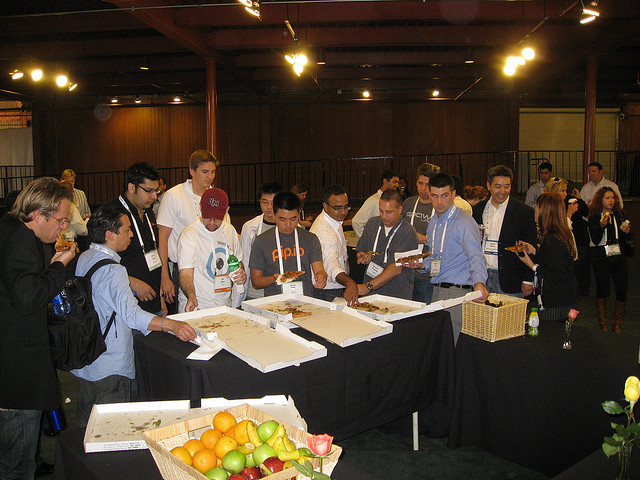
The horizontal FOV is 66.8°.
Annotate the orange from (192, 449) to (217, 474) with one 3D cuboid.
[{"bbox_3d":[-0.410,0.781,1.759,0.066,0.073,0.071,-39,-6,34],"label":"orange"}]

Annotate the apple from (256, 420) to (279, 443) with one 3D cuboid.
[{"bbox_3d":[-0.196,0.687,1.764,0.069,0.069,0.068,-47,-1,-14],"label":"apple"}]

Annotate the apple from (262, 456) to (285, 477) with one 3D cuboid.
[{"bbox_3d":[-0.159,0.762,1.651,0.055,0.062,0.069,12,23,35],"label":"apple"}]

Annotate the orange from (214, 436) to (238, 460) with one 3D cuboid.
[{"bbox_3d":[-0.343,0.748,1.771,0.068,0.073,0.070,23,3,-11],"label":"orange"}]

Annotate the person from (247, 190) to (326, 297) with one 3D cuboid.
[{"bbox_3d":[-0.254,0.204,3.664,0.547,1.094,0.501,1,13,-1],"label":"person"}]

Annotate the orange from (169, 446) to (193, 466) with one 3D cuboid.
[{"bbox_3d":[-0.506,0.778,1.776,0.058,0.064,0.070,-19,23,-24],"label":"orange"}]

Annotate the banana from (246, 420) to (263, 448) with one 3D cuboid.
[{"bbox_3d":[-0.235,0.703,1.765,0.029,0.040,0.117,-7,43,-13],"label":"banana"}]

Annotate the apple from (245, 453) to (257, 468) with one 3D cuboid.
[{"bbox_3d":[-0.245,0.773,1.706,0.034,0.038,0.035,-11,-30,-5],"label":"apple"}]

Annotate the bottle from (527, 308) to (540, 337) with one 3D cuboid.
[{"bbox_3d":[1.497,0.568,3.421,0.077,0.164,0.263,2,6,24],"label":"bottle"}]

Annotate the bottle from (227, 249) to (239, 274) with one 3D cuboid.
[{"bbox_3d":[-0.601,0.163,3.364,0.067,0.122,0.161,-2,6,-9],"label":"bottle"}]

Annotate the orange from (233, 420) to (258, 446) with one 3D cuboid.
[{"bbox_3d":[-0.287,0.720,1.851,0.067,0.070,0.083,-36,-20,-23],"label":"orange"}]

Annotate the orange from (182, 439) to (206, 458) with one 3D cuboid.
[{"bbox_3d":[-0.481,0.771,1.809,0.051,0.058,0.064,-2,-2,-12],"label":"orange"}]

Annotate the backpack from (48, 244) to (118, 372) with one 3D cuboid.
[{"bbox_3d":[-1.366,0.398,2.726,0.321,0.633,0.410,-1,4,23],"label":"backpack"}]

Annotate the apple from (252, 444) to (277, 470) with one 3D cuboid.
[{"bbox_3d":[-0.195,0.744,1.704,0.066,0.070,0.085,-27,47,4],"label":"apple"}]

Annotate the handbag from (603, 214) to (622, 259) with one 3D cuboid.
[{"bbox_3d":[3.315,-0.009,5.507,0.254,0.443,0.112,-4,6,-27],"label":"handbag"}]

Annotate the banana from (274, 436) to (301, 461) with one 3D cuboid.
[{"bbox_3d":[-0.122,0.724,1.665,0.060,0.072,0.042,5,28,18],"label":"banana"}]

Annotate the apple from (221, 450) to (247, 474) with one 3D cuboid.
[{"bbox_3d":[-0.309,0.772,1.730,0.069,0.068,0.072,-35,-19,-30],"label":"apple"}]

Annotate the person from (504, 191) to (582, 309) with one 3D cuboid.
[{"bbox_3d":[1.900,0.096,4.176,0.589,1.000,0.487,0,6,10],"label":"person"}]

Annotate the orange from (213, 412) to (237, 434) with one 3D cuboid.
[{"bbox_3d":[-0.373,0.711,1.916,0.072,0.077,0.074,-2,-4,-23],"label":"orange"}]

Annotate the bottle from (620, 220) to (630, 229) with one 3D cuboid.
[{"bbox_3d":[3.450,-0.177,5.530,0.052,0.100,0.010,31,0,19],"label":"bottle"}]

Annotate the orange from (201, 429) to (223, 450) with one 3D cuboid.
[{"bbox_3d":[-0.411,0.750,1.846,0.061,0.065,0.060,-13,0,-38],"label":"orange"}]

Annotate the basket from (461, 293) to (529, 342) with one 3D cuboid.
[{"bbox_3d":[1.210,0.497,3.389,0.330,0.225,0.254,0,15,-36],"label":"basket"}]
